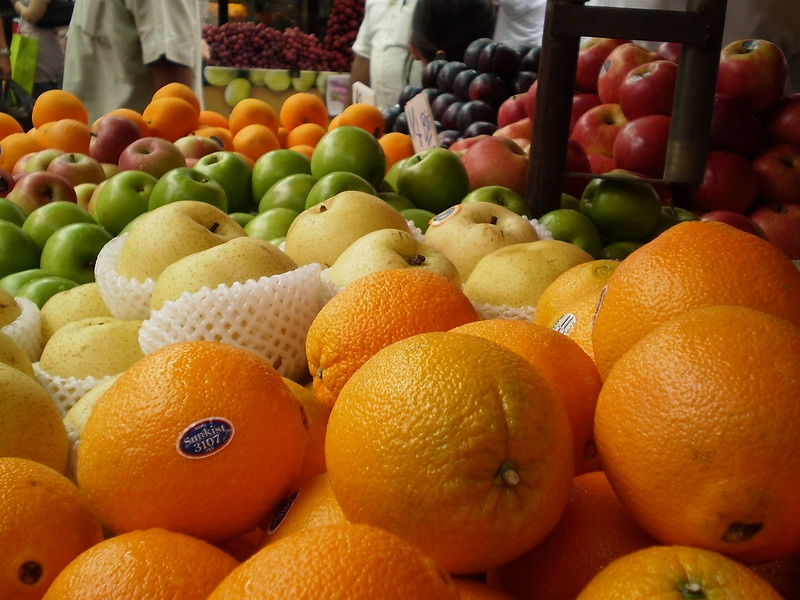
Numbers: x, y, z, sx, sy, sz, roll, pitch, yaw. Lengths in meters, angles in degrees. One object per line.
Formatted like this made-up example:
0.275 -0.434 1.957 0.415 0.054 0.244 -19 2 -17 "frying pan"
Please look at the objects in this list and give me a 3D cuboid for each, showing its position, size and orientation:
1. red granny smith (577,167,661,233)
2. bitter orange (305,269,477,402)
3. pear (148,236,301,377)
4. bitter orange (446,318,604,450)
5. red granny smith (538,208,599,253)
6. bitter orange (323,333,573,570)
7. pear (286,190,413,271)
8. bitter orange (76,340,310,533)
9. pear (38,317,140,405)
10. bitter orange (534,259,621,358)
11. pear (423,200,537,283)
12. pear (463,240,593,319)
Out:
0.678 -0.248 2.167 0.216 0.215 0.185 21 -15 -25 "red granny smith"
-0.030 0.024 1.169 0.228 0.192 0.198 -15 67 -37 "bitter orange"
-0.365 0.014 1.468 0.190 0.121 0.182 -29 1 -40 "pear"
0.187 0.104 1.023 0.175 0.170 0.149 15 1 28 "bitter orange"
0.495 -0.180 2.039 0.127 0.149 0.169 -14 25 28 "red granny smith"
0.050 0.194 0.927 0.274 0.268 0.277 23 38 -9 "bitter orange"
-0.129 -0.156 1.835 0.257 0.209 0.244 -36 13 -27 "pear"
-0.278 0.166 0.964 0.254 0.236 0.215 -20 31 -21 "bitter orange"
-0.646 0.106 1.484 0.177 0.200 0.174 -17 -12 -37 "pear"
0.330 -0.008 1.387 0.132 0.182 0.144 9 38 12 "bitter orange"
0.204 -0.181 1.771 0.205 0.256 0.224 -6 21 -13 "pear"
0.283 -0.064 1.551 0.188 0.157 0.192 -20 3 -17 "pear"
